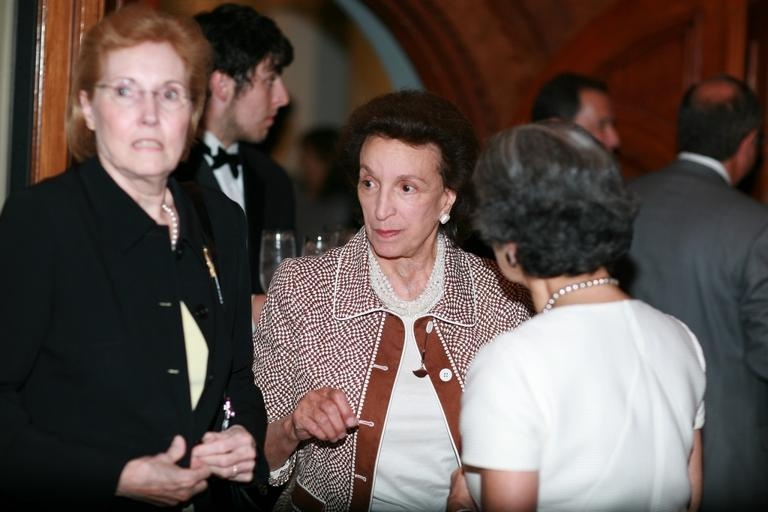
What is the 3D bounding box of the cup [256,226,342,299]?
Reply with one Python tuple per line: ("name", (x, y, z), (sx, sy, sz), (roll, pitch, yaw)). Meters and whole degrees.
("cup", (-0.448, 0.029, 3.814), (0.335, 0.360, 0.346), (0, 0, 0))
